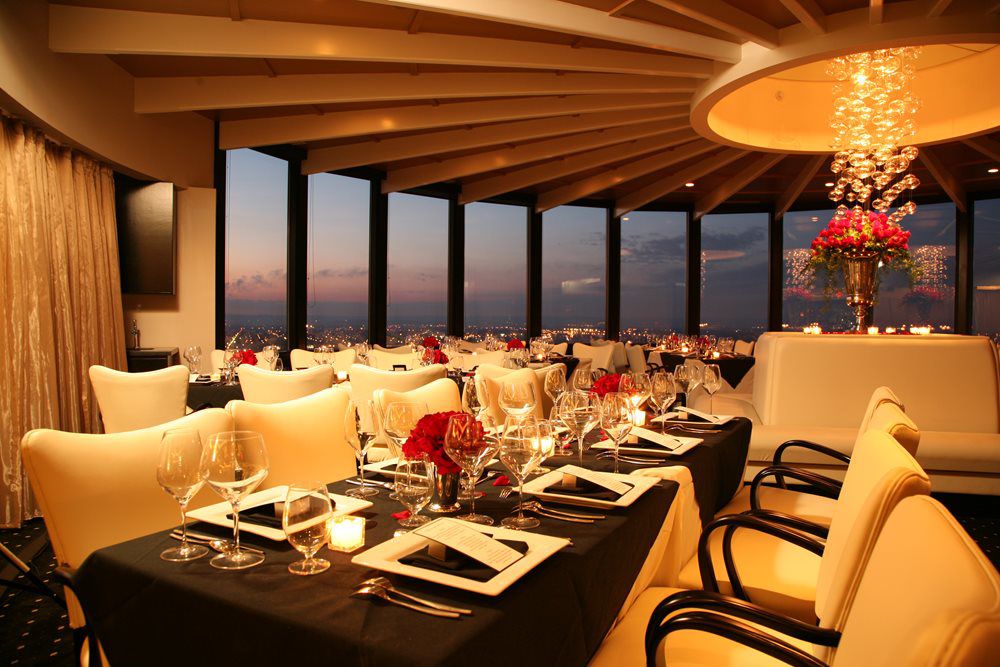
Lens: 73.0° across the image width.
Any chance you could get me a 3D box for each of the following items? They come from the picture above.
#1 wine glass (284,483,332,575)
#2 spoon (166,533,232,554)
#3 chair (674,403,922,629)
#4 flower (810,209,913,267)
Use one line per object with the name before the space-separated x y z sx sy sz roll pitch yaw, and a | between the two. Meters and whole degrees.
wine glass | -0.678 0.677 2.396 0.162 0.316 0.179 -5 10 -17
spoon | -1.120 0.777 2.536 0.164 0.022 0.093 6 5 18
chair | 1.313 0.833 3.058 0.684 0.837 0.641 10 27 22
flower | 3.321 -0.860 6.204 0.666 0.426 0.672 1 4 24
